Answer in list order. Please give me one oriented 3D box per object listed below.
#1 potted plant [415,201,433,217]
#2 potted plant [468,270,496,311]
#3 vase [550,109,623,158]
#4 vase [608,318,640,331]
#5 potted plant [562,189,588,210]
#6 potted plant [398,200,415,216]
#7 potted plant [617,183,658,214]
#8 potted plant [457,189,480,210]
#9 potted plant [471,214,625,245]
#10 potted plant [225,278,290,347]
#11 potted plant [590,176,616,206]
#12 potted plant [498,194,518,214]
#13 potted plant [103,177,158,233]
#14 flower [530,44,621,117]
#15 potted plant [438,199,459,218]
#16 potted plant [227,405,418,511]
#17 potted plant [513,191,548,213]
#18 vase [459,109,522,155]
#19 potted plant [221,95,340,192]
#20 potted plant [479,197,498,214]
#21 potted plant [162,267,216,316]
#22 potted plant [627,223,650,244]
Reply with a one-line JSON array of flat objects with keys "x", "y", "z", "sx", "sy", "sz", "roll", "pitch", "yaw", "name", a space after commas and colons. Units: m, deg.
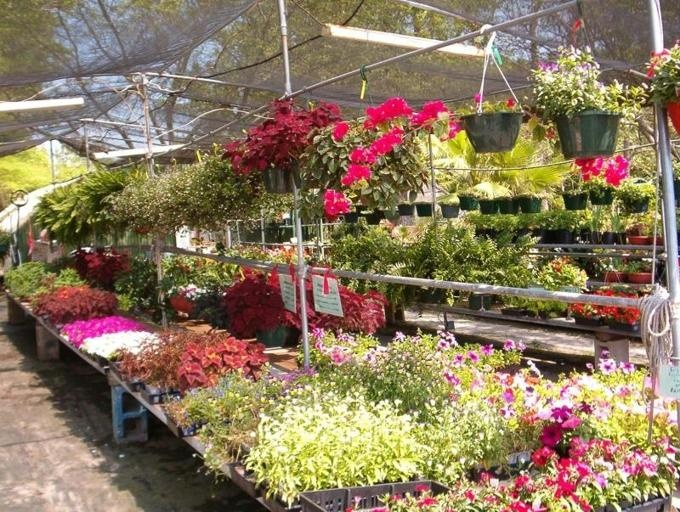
[{"x": 1.027, "y": -0.559, "z": 6.868, "sx": 0.177, "sy": 0.157, "sz": 0.216, "roll": -1, "pitch": 3, "yaw": -2, "name": "potted plant"}, {"x": 1.556, "y": 0.413, "z": 6.282, "sx": 0.252, "sy": 0.465, "sz": 0.481, "roll": -3, "pitch": 7, "yaw": 14, "name": "potted plant"}, {"x": 1.372, "y": -0.653, "z": 3.098, "sx": 0.260, "sy": 0.165, "sz": 0.262, "roll": -2, "pitch": 1, "yaw": 6, "name": "vase"}, {"x": 2.741, "y": 0.650, "z": 5.493, "sx": 0.127, "sy": 0.062, "sz": 0.189, "roll": 1, "pitch": 4, "yaw": -44, "name": "vase"}, {"x": 2.879, "y": -0.680, "z": 6.950, "sx": 0.236, "sy": 0.153, "sz": 0.236, "roll": 0, "pitch": 0, "yaw": -6, "name": "potted plant"}, {"x": 0.690, "y": -0.476, "z": 5.840, "sx": 0.128, "sy": 0.092, "sz": 0.176, "roll": -2, "pitch": 2, "yaw": -2, "name": "potted plant"}, {"x": 3.617, "y": -0.687, "z": 6.910, "sx": 0.403, "sy": 0.289, "sz": 0.393, "roll": 1, "pitch": 4, "yaw": 23, "name": "potted plant"}, {"x": 1.581, "y": -0.668, "z": 6.915, "sx": 0.214, "sy": 0.151, "sz": 0.214, "roll": 0, "pitch": 2, "yaw": -6, "name": "potted plant"}, {"x": 2.877, "y": -0.368, "z": 7.843, "sx": 1.831, "sy": 0.493, "sz": 1.192, "roll": -5, "pitch": 7, "yaw": -8, "name": "potted plant"}, {"x": -0.889, "y": 0.537, "z": 6.220, "sx": 0.643, "sy": 0.516, "sz": 0.649, "roll": 11, "pitch": 24, "yaw": 29, "name": "potted plant"}, {"x": 3.043, "y": -0.734, "z": 6.610, "sx": 0.269, "sy": 0.325, "sz": 0.590, "roll": -1, "pitch": 8, "yaw": 27, "name": "potted plant"}, {"x": 2.030, "y": -0.609, "z": 6.845, "sx": 0.198, "sy": 0.147, "sz": 0.199, "roll": -1, "pitch": 2, "yaw": -3, "name": "potted plant"}, {"x": -2.410, "y": -0.615, "z": 6.587, "sx": 0.487, "sy": 0.481, "sz": 0.515, "roll": -11, "pitch": 25, "yaw": -12, "name": "potted plant"}, {"x": 1.349, "y": -0.990, "z": 3.235, "sx": 0.449, "sy": 0.327, "sz": 0.463, "roll": 6, "pitch": 8, "yaw": 9, "name": "flower"}, {"x": 1.344, "y": -0.569, "z": 6.945, "sx": 0.207, "sy": 0.159, "sz": 0.205, "roll": -1, "pitch": 4, "yaw": 1, "name": "potted plant"}, {"x": -0.028, "y": 1.101, "z": 3.293, "sx": 1.003, "sy": 0.326, "sz": 0.711, "roll": -6, "pitch": 7, "yaw": -12, "name": "potted plant"}, {"x": 2.280, "y": -0.620, "z": 6.822, "sx": 0.345, "sy": 0.236, "sz": 0.278, "roll": -4, "pitch": 7, "yaw": 2, "name": "potted plant"}, {"x": 0.907, "y": -0.710, "z": 3.351, "sx": 0.260, "sy": 0.149, "sz": 0.261, "roll": -6, "pitch": 5, "yaw": -9, "name": "vase"}, {"x": -0.445, "y": -0.821, "z": 4.272, "sx": 0.785, "sy": 0.550, "sz": 0.725, "roll": -6, "pitch": 7, "yaw": -35, "name": "potted plant"}, {"x": 1.816, "y": -0.607, "z": 6.913, "sx": 0.181, "sy": 0.134, "sz": 0.182, "roll": -2, "pitch": 0, "yaw": 8, "name": "potted plant"}, {"x": -1.983, "y": 0.467, "z": 7.514, "sx": 0.644, "sy": 0.644, "sz": 0.449, "roll": 3, "pitch": -29, "yaw": -8, "name": "potted plant"}, {"x": 3.813, "y": -0.269, "z": 7.254, "sx": 0.274, "sy": 0.257, "sz": 0.318, "roll": -1, "pitch": 8, "yaw": 25, "name": "potted plant"}]
